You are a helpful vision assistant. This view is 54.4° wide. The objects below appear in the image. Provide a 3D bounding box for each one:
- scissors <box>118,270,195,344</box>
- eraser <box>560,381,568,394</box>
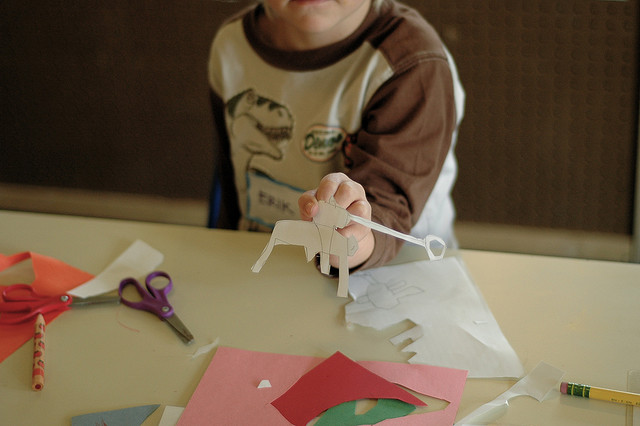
[{"bbox_3d":[-0.333,0.206,1.312,0.220,0.045,0.120,38,35,30],"label":"scissors"},{"bbox_3d":[0.467,0.332,1.197,0.012,0.028,0.018,4,5,23],"label":"eraser"}]
